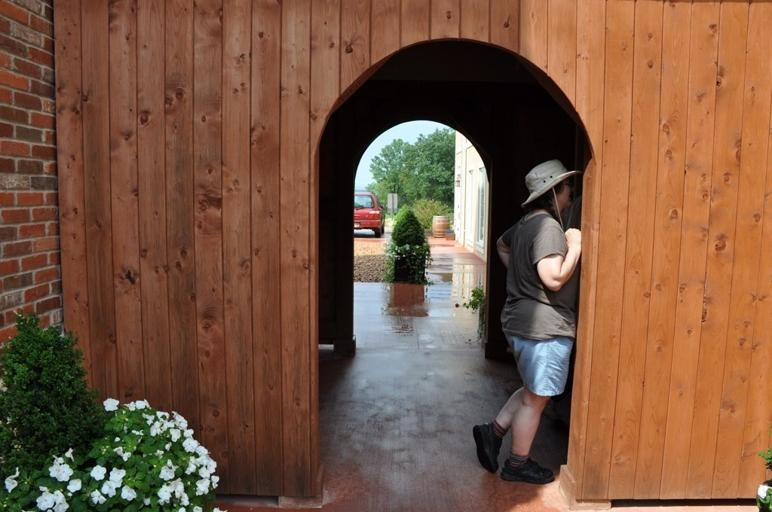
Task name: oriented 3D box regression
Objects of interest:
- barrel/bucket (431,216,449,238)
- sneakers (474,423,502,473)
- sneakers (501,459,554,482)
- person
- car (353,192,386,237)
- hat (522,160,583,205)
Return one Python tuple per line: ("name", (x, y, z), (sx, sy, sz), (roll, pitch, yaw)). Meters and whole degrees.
("barrel/bucket", (2.501, -1.334, 29.644), (0.853, 0.965, 0.879), (1, 8, 0))
("sneakers", (0.793, 1.484, 5.213), (0.192, 0.460, 0.165), (-13, 1, -4))
("sneakers", (1.096, 1.665, 5.010), (0.357, 0.168, 0.185), (0, 4, 1))
("person", (1.106, 0.499, 5.046), (0.764, 2.458, 0.594), (4, 10, 23))
("car", (-0.806, -1.689, 27.388), (1.164, 1.806, 1.639), (-1, 10, -5))
("hat", (1.214, -0.549, 4.920), (0.346, 0.350, 0.286), (3, 11, 17))
